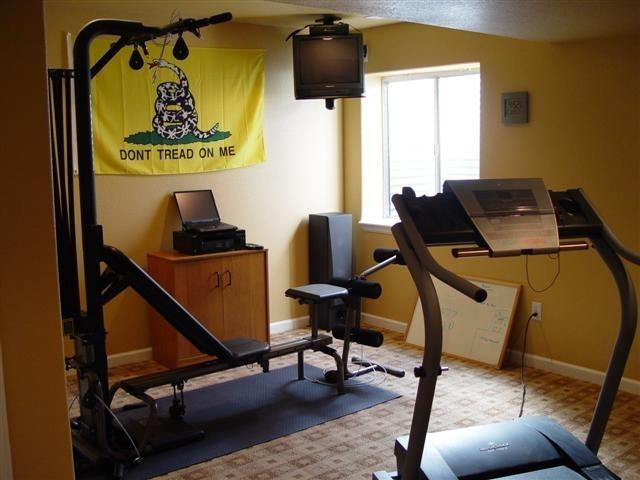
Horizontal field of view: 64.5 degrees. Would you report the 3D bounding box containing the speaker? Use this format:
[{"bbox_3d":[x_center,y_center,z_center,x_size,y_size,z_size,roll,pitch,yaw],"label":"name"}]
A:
[{"bbox_3d":[0.154,0.342,5.897,0.562,1.303,0.510,-2,9,-8],"label":"speaker"}]

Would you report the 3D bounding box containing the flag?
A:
[{"bbox_3d":[-1.423,-1.279,4.821,1.637,1.185,0.076,-7,10,-35],"label":"flag"}]

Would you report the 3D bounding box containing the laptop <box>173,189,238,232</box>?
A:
[{"bbox_3d":[-1.181,-0.296,4.999,0.475,0.350,0.469,-9,17,-44],"label":"laptop"}]

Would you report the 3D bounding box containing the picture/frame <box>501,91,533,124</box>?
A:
[{"bbox_3d":[1.784,-1.226,4.670,0.231,0.291,0.020,0,-7,14],"label":"picture/frame"}]

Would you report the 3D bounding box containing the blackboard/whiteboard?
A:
[{"bbox_3d":[1.281,0.685,4.257,0.040,0.781,0.911,13,-2,-40],"label":"blackboard/whiteboard"}]

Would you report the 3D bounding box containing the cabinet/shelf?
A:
[{"bbox_3d":[-1.066,0.647,5.099,1.041,1.051,0.418,-3,4,-42],"label":"cabinet/shelf"}]
